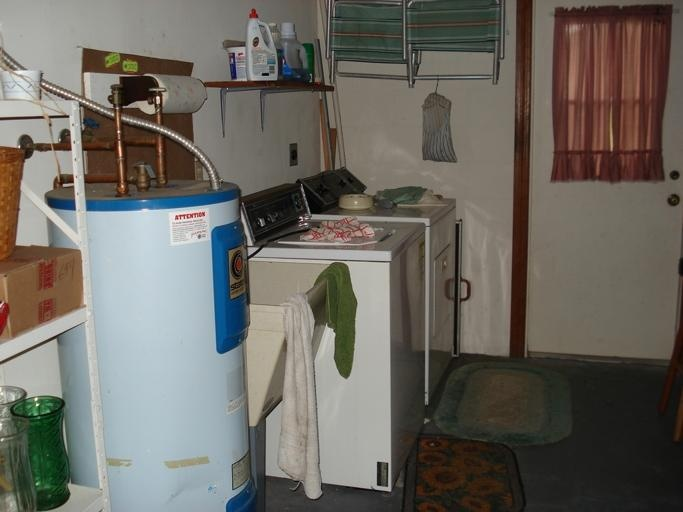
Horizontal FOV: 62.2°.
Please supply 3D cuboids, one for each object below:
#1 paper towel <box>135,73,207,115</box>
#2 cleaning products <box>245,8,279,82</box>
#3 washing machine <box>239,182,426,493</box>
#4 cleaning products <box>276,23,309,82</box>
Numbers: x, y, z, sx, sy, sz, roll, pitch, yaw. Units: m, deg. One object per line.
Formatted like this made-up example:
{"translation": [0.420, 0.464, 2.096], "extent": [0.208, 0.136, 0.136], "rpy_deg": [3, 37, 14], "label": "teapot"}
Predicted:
{"translation": [-0.547, -0.539, 1.875], "extent": [0.090, 0.117, 0.255], "rpy_deg": [2, 15, 15], "label": "paper towel"}
{"translation": [-0.370, -0.952, 2.624], "extent": [0.117, 0.342, 0.166], "rpy_deg": [11, 13, 19], "label": "cleaning products"}
{"translation": [-0.024, 0.345, 3.007], "extent": [0.694, 1.350, 0.996], "rpy_deg": [1, 12, 8], "label": "washing machine"}
{"translation": [-0.284, -1.127, 3.072], "extent": [0.147, 0.307, 0.185], "rpy_deg": [-27, 56, -23], "label": "cleaning products"}
